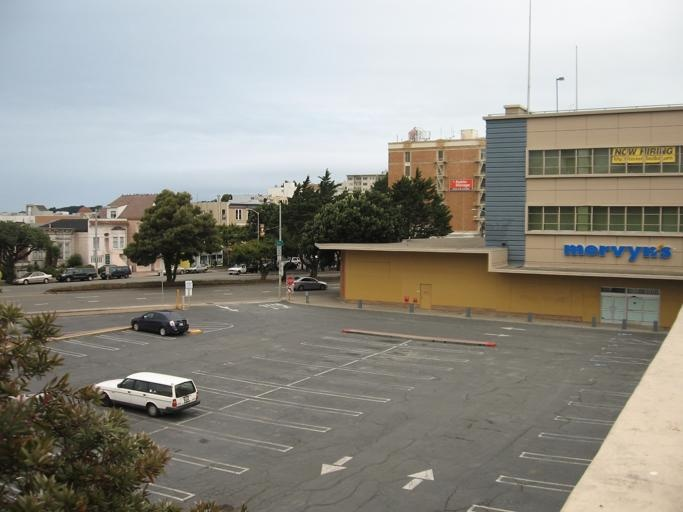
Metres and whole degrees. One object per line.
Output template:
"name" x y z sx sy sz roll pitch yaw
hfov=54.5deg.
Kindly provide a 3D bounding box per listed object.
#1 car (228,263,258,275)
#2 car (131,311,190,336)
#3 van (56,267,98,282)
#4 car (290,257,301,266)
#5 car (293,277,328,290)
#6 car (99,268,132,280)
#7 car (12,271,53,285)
"car" -14.460 1.579 97.935 4.778 1.600 2.228 4 -5 -45
"car" -11.596 4.301 42.757 3.283 1.156 1.530 5 3 30
"van" -32.196 2.262 80.918 3.727 1.322 1.788 4 -6 -44
"car" -7.510 0.933 109.556 1.634 1.283 2.313 0 -5 3
"car" -3.407 2.975 70.095 3.061 0.989 1.423 -2 5 -20
"car" -29.219 2.240 85.784 3.068 1.120 1.727 3 -4 -44
"car" -35.320 2.530 76.088 3.397 1.099 1.498 4 -4 -37
